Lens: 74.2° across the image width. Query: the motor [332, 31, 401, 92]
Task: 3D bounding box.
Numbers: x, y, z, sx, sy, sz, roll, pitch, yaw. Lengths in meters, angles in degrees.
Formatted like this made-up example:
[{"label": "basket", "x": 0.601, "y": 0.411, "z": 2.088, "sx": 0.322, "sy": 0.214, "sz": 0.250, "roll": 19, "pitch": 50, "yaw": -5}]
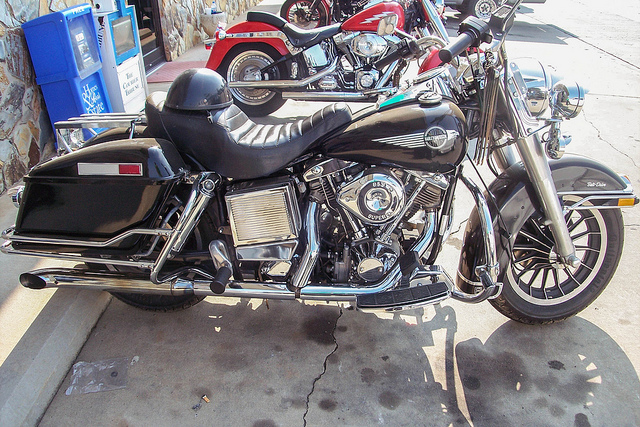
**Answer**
[{"label": "motor", "x": 0.553, "y": -1.954, "z": 5.423, "sx": 0.871, "sy": 0.568, "sz": 0.588, "roll": 0, "pitch": 35, "yaw": 1}]
